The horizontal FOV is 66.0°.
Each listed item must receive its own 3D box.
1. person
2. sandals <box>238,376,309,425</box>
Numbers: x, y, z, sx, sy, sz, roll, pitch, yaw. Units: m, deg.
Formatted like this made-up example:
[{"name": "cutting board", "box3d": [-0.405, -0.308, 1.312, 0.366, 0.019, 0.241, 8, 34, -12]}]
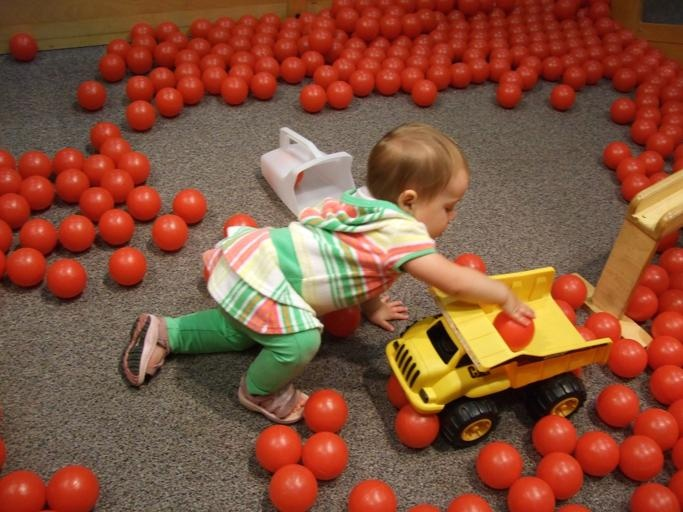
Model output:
[{"name": "person", "box3d": [-0.088, 0.090, 1.399, 0.982, 0.672, 0.542, -15, 61, -20]}, {"name": "sandals", "box3d": [-0.181, 0.424, 1.506, 0.208, 0.069, 0.107, 15, 47, 16]}]
